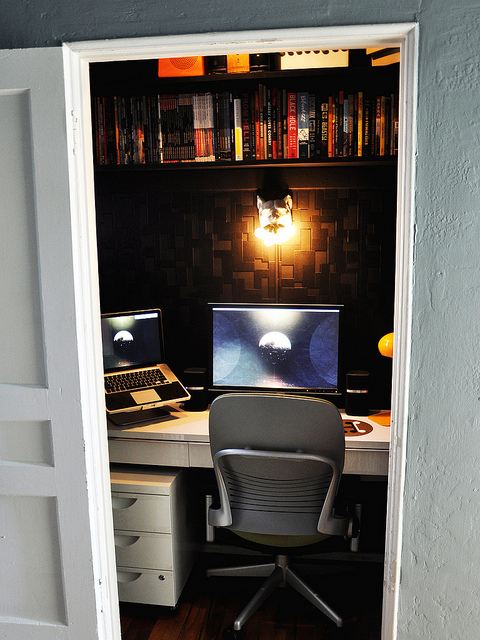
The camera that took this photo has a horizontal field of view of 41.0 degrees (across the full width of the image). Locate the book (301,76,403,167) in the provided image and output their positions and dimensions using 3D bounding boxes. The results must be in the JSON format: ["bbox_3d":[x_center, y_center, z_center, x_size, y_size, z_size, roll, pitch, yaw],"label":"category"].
[{"bbox_3d":[0.417,-0.755,2.432,0.366,0.348,0.198,-1,8,8],"label":"book"}]

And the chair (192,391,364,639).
[{"bbox_3d":[0.136,0.684,2.213,0.619,0.937,0.656,1,21,6],"label":"chair"}]

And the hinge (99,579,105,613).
[{"bbox_3d":[-0.398,0.797,1.850,0.012,0.100,0.007,-7,9,-34],"label":"hinge"}]

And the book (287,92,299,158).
[{"bbox_3d":[0.197,-0.728,2.401,0.042,0.231,0.012,-2,8,3],"label":"book"}]

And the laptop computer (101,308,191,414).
[{"bbox_3d":[-0.412,0.171,2.657,0.401,0.310,0.374,-6,25,-25],"label":"laptop computer"}]

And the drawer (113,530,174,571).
[{"bbox_3d":[-0.363,0.864,2.386,0.173,0.111,0.176,2,-16,-7],"label":"drawer"}]

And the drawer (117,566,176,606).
[{"bbox_3d":[-0.335,0.966,2.315,0.155,0.105,0.161,0,-5,9],"label":"drawer"}]

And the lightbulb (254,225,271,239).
[{"bbox_3d":[0.089,-0.353,2.564,0.039,0.049,0.098,-7,9,-30],"label":"lightbulb"}]

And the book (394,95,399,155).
[{"bbox_3d":[0.574,-0.716,2.350,0.015,0.216,0.051,-1,8,9],"label":"book"}]

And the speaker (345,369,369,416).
[{"bbox_3d":[0.461,0.290,2.554,0.086,0.167,0.118,-3,8,-9],"label":"speaker"}]

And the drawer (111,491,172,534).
[{"bbox_3d":[-0.343,0.690,2.350,0.166,0.112,0.162,0,-7,6],"label":"drawer"}]
